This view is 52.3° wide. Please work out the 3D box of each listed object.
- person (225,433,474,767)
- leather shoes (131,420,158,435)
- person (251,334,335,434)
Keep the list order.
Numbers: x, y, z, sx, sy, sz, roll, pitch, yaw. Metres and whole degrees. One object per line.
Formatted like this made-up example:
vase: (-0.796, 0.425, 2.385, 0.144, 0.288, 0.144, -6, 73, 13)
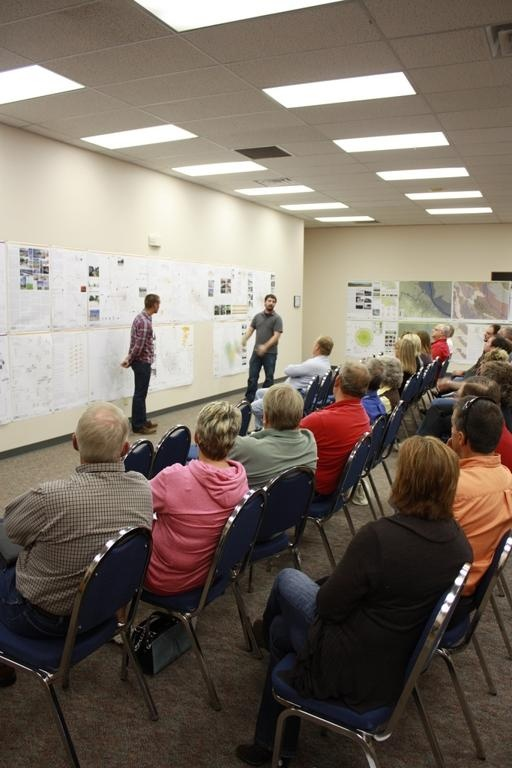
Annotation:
person: (0.217, 0.607, 1.302, 0.359, 0.984, 0.489, -5, 13, -44)
leather shoes: (-1.277, 0.488, 6.035, 0.230, 0.092, 0.131, -6, 11, -20)
person: (0.409, 0.033, 5.930, 0.725, 1.272, 0.482, 16, 4, 29)
